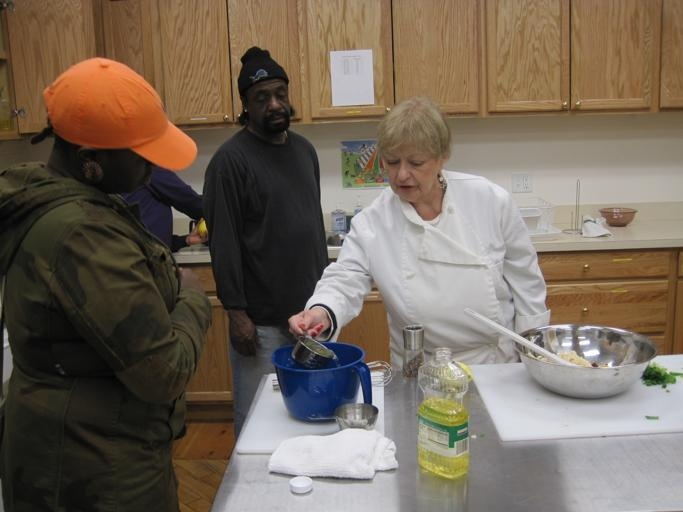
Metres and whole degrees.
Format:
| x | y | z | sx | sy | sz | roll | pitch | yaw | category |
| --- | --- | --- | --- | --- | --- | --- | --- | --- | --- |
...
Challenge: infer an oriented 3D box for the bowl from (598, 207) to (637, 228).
| x | y | z | sx | sy | sz | roll | pitch | yaw | category |
| --- | --- | --- | --- | --- | --- | --- | --- | --- | --- |
| 1.725 | -0.235 | 3.488 | 0.190 | 0.108 | 0.114 | -1 | 13 | 8 | bowl |

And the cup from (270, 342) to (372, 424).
| x | y | z | sx | sy | sz | roll | pitch | yaw | category |
| --- | --- | --- | --- | --- | --- | --- | --- | --- | --- |
| -0.071 | 0.296 | 1.534 | 0.282 | 0.217 | 0.216 | -1 | 15 | -27 | cup |

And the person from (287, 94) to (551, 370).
| x | y | z | sx | sy | sz | roll | pitch | yaw | category |
| --- | --- | --- | --- | --- | --- | --- | --- | --- | --- |
| 0.358 | 0.036 | 2.069 | 0.524 | 1.199 | 0.589 | -1 | 7 | 4 | person |

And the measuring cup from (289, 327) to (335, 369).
| x | y | z | sx | sy | sz | roll | pitch | yaw | category |
| --- | --- | --- | --- | --- | --- | --- | --- | --- | --- |
| -0.077 | 0.265 | 1.494 | 0.091 | 0.057 | 0.091 | 35 | 8 | -6 | measuring cup |

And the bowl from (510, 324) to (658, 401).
| x | y | z | sx | sy | sz | roll | pitch | yaw | category |
| --- | --- | --- | --- | --- | --- | --- | --- | --- | --- |
| 0.696 | 0.288 | 1.564 | 0.242 | 0.085 | 0.250 | 0 | 16 | 0 | bowl |
